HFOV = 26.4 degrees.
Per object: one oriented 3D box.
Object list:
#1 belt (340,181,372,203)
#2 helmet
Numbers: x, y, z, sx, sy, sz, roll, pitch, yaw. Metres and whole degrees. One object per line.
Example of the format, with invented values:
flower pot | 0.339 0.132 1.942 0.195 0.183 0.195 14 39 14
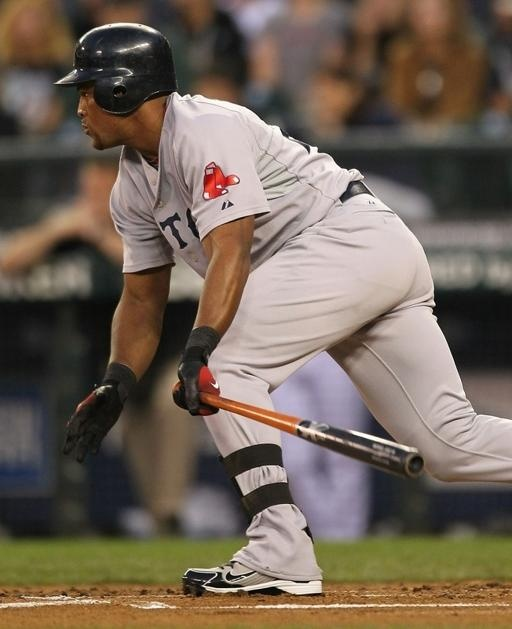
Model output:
belt | 0.291 -0.356 3.146 0.094 0.023 0.074 -5 40 12
helmet | -0.371 -0.683 3.042 0.370 0.238 0.213 0 93 -7
